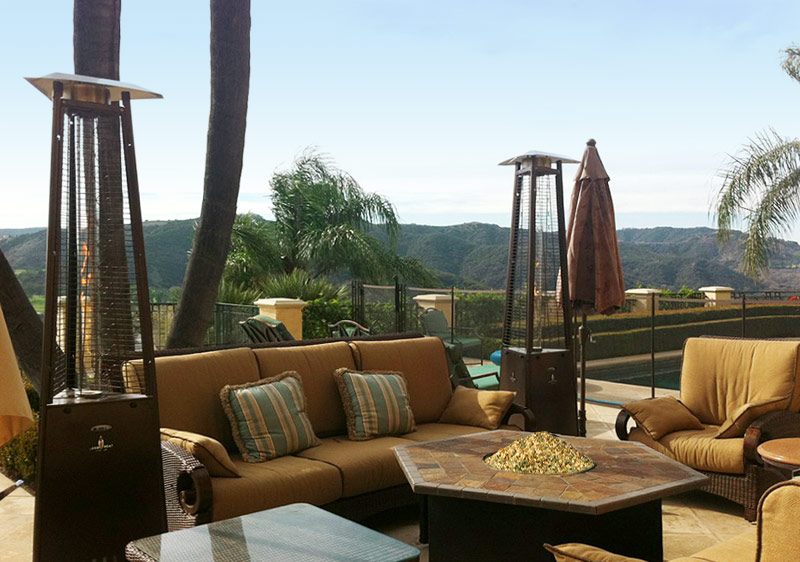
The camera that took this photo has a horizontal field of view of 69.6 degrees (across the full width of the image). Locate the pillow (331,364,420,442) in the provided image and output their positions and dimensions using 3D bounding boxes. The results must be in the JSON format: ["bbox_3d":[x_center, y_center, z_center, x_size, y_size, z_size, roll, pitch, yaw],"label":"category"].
[{"bbox_3d":[-0.210,0.922,4.282,0.520,0.379,0.196,7,-20,-33],"label":"pillow"}]

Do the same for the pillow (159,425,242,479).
[{"bbox_3d":[-1.196,1.019,3.349,0.466,0.267,0.207,1,7,18],"label":"pillow"}]

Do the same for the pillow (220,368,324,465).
[{"bbox_3d":[-0.863,0.950,3.943,0.336,0.483,0.655,5,7,39],"label":"pillow"}]

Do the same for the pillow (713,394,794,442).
[{"bbox_3d":[2.569,0.991,4.108,0.550,0.295,0.196,-2,7,-6],"label":"pillow"}]

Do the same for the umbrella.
[{"bbox_3d":[1.926,0.091,5.798,0.579,3.030,1.406,1,8,20],"label":"umbrella"}]
